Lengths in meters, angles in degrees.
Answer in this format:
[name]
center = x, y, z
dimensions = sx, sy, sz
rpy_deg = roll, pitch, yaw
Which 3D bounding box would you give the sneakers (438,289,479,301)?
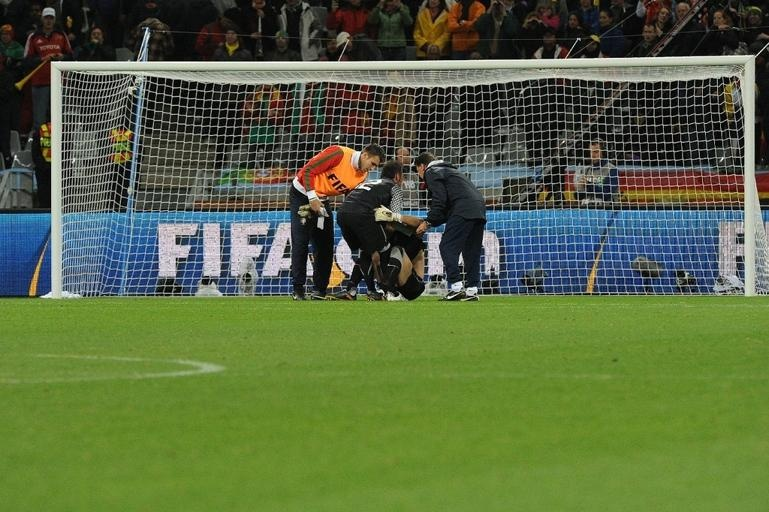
[sneakers]
center = 0.887, 0.446, 11.508
dimensions = 0.451, 0.174, 0.145
rpy_deg = 2, -1, -14

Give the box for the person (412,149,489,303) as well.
[person]
center = 0.801, -0.346, 11.542
dimensions = 0.769, 1.712, 0.632
rpy_deg = 3, 11, 19

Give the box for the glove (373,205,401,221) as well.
[glove]
center = 0.038, -0.504, 11.419
dimensions = 0.287, 0.181, 0.186
rpy_deg = 4, 11, 25
